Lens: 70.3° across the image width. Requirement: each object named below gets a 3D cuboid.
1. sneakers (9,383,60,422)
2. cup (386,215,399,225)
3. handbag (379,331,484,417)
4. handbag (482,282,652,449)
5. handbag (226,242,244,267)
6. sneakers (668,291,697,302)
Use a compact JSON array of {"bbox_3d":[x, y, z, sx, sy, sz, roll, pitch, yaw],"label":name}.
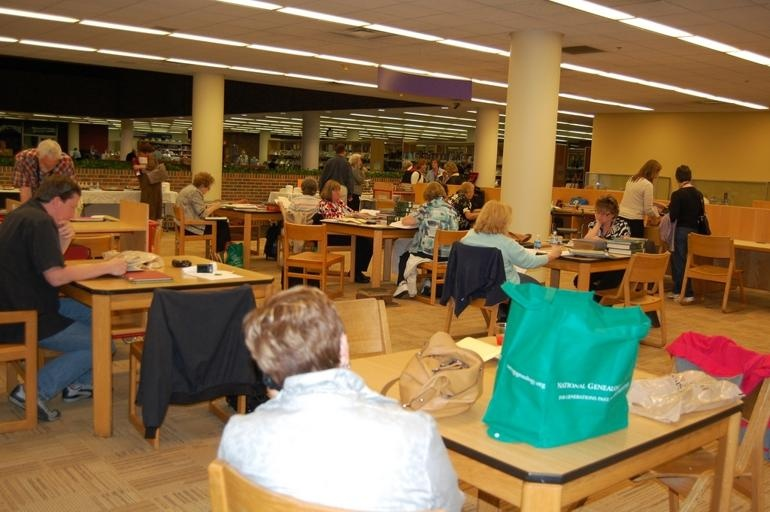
[{"bbox_3d":[-2.516,1.052,3.921,0.367,0.157,0.125,30,22,11],"label":"sneakers"},{"bbox_3d":[0.093,-0.530,8.175,0.248,0.137,0.176,0,0,-9],"label":"cup"},{"bbox_3d":[0.209,0.465,2.113,0.308,0.149,0.231,-19,32,-31],"label":"handbag"},{"bbox_3d":[0.575,0.338,2.012,0.587,0.503,0.568,-5,14,-23],"label":"handbag"},{"bbox_3d":[-2.353,-0.015,8.556,0.305,0.395,0.196,9,22,32],"label":"handbag"},{"bbox_3d":[4.491,0.637,8.428,0.172,0.178,0.456,4,-1,-36],"label":"sneakers"}]
